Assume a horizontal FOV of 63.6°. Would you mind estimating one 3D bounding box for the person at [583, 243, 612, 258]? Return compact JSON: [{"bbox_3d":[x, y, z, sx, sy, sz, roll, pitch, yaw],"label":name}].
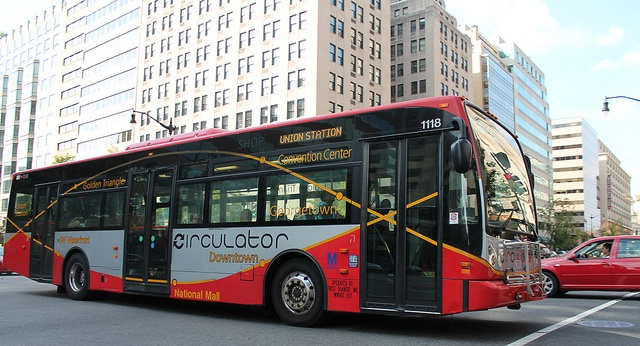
[{"bbox_3d":[12.069,3.367,22.433,0.939,0.297,0.671,-8,-15,24],"label":"person"}]
